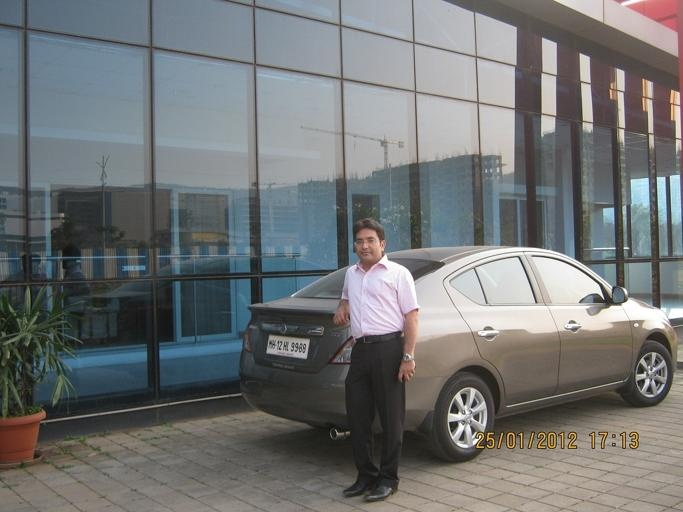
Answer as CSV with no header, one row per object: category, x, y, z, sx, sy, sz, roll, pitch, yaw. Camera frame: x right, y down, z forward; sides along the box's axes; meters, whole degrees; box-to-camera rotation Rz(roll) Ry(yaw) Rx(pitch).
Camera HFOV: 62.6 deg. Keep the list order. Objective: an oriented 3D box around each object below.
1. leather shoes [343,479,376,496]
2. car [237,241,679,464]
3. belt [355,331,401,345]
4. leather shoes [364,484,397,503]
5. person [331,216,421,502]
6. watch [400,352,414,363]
leather shoes,0.182,2.066,5.073,0.335,0.140,0.123,7,-10,-38
car,1.439,0.769,6.532,4.412,1.652,2.171,-3,1,-34
belt,0.322,0.731,5.028,0.407,0.101,0.121,-1,1,4
leather shoes,0.324,2.083,4.911,0.122,0.094,0.313,-3,-5,40
person,0.316,0.907,5.091,0.747,2.481,0.486,-1,1,9
watch,0.581,0.887,4.928,0.072,0.072,0.074,0,6,-13
